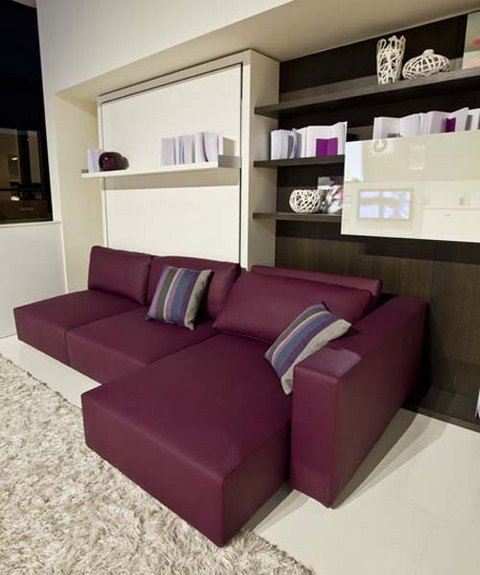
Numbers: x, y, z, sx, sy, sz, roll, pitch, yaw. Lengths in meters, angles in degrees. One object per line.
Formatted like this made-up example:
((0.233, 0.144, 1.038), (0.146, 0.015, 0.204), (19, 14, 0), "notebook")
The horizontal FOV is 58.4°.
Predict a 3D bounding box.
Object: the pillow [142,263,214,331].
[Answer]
((-0.371, 0.051, 2.655), (0.366, 0.394, 0.114), (8, -11, 41), "pillow")

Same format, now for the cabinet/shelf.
((0.606, -0.770, 2.376), (0.318, 0.801, 1.314), (-11, 16, -44), "cabinet/shelf")
